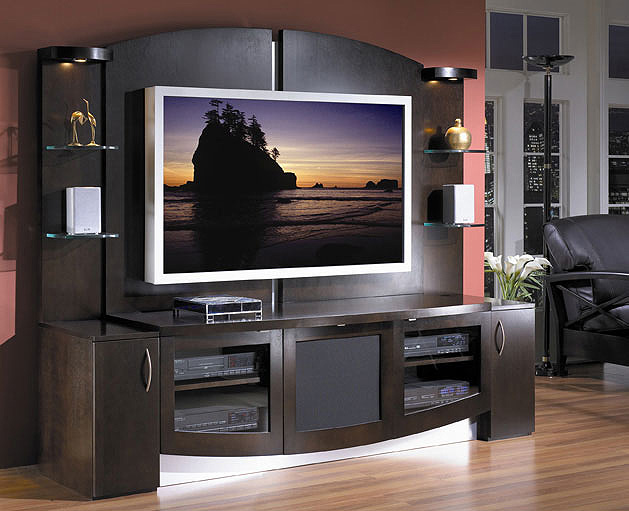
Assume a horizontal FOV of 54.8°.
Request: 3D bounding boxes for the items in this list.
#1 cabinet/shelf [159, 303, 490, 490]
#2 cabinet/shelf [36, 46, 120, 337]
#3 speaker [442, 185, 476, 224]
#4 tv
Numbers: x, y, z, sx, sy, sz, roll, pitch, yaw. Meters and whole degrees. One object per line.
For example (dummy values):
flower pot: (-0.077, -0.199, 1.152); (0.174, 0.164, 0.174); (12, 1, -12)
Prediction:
cabinet/shelf: (-0.017, 0.697, 3.221); (2.169, 0.671, 0.599); (3, -9, -35)
cabinet/shelf: (-1.107, -0.326, 2.859); (0.406, 1.071, 0.286); (-4, 2, -23)
speaker: (0.873, -0.310, 3.700); (0.184, 0.260, 0.153); (-3, 2, 10)
tv: (-0.234, -0.383, 3.222); (1.285, 0.702, 0.130); (-1, 0, -28)
